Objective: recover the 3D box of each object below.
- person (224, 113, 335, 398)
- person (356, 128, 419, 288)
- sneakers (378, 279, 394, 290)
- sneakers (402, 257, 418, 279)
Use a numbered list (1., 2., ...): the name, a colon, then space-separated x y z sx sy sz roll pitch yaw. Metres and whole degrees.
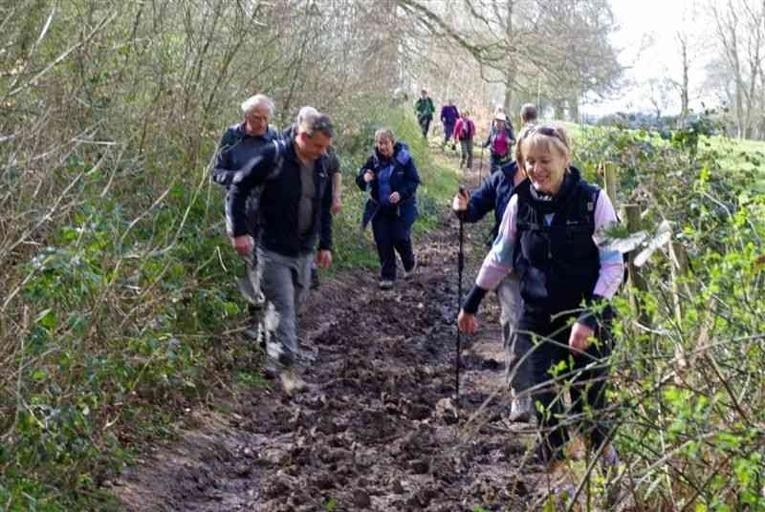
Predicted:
1. person: -1.103 -0.024 8.039 1.022 3.071 0.914 3 0 2
2. person: 0.082 -0.693 11.183 1.040 2.349 0.736 4 0 -23
3. sneakers: 0.047 0.426 11.175 0.136 0.131 0.159 4 -1 -12
4. sneakers: 0.418 0.193 11.688 0.185 0.340 0.667 -5 -3 4
